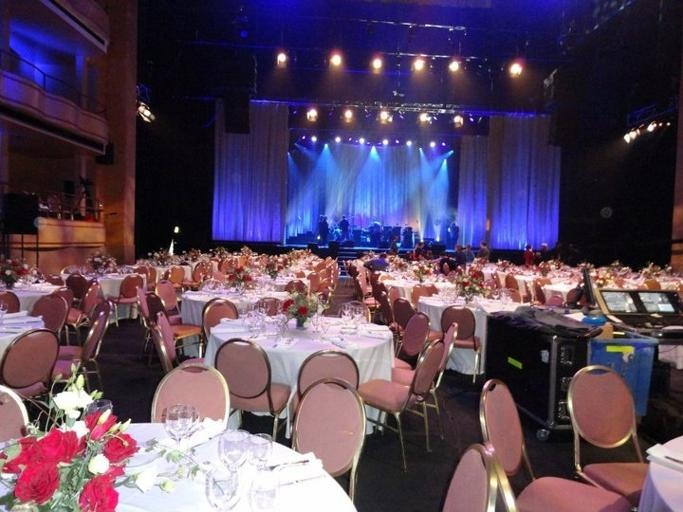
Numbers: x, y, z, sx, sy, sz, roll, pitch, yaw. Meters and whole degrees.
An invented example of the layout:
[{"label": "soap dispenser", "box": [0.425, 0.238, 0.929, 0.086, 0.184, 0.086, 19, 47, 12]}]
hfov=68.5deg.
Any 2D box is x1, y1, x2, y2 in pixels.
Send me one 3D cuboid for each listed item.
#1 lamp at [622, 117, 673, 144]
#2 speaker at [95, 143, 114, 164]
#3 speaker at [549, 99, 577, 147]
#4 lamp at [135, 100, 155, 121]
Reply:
[{"label": "lamp", "box": [8.594, -3.472, 13.952, 1.465, 0.530, 0.419, -21, -17, -19]}, {"label": "speaker", "box": [-7.433, -3.174, 15.776, 0.473, 0.661, 0.357, 0, 0, 3]}, {"label": "speaker", "box": [7.187, -4.307, 16.223, 0.733, 1.250, 1.657, 0, 0, 23]}, {"label": "lamp", "box": [-6.491, -4.783, 16.408, 0.627, 0.329, 0.837, 28, 5, -40]}]
